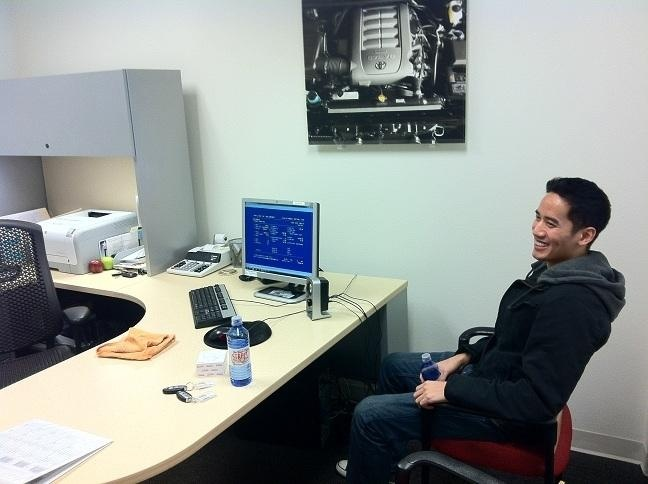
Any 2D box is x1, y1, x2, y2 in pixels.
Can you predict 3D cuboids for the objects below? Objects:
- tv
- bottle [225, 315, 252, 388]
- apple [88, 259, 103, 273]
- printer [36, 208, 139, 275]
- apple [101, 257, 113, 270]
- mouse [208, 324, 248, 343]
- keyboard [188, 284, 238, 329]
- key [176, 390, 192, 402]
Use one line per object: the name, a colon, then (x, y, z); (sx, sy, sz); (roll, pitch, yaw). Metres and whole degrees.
tv: (-0.236, 0.046, 2.783); (0.544, 0.554, 0.212); (4, 6, 28)
bottle: (-0.356, 0.429, 2.105); (0.100, 0.262, 0.217); (-4, 14, -10)
apple: (-1.487, 0.157, 3.290); (0.089, 0.086, 0.084); (0, -5, -3)
printer: (-1.588, -0.034, 3.444); (0.487, 0.307, 0.508); (8, 15, 21)
apple: (-1.431, 0.136, 3.356); (0.078, 0.077, 0.078); (0, 13, 11)
mouse: (-0.483, 0.436, 2.364); (0.107, 0.027, 0.104); (1, 11, -25)
keyboard: (-0.606, 0.324, 2.704); (0.195, 0.419, 0.065); (-21, 62, -16)
key: (-0.544, 0.601, 1.973); (0.048, 0.022, 0.079); (-14, 19, -43)
